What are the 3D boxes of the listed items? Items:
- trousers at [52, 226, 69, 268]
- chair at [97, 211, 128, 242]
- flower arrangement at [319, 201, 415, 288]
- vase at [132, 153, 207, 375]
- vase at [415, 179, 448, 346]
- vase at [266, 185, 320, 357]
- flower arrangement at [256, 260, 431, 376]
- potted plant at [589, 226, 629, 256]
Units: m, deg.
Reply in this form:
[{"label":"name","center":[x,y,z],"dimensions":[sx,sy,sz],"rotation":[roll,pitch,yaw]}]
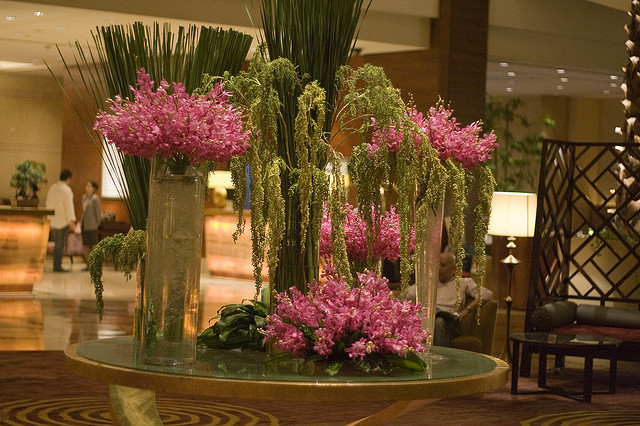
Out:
[{"label":"trousers","center":[-5.595,0.751,12.224],"dimensions":[0.347,0.810,0.310],"rotation":[3,0,-4]},{"label":"chair","center":[-4.186,0.259,11.351],"dimensions":[0.648,0.716,0.383],"rotation":[0,0,8]},{"label":"flower arrangement","center":[0.176,0.120,2.306],"dimensions":[0.332,0.423,0.322],"rotation":[1,-5,-16]},{"label":"vase","center":[-0.500,0.154,1.915],"dimensions":[0.230,0.678,0.423],"rotation":[3,0,-18]},{"label":"vase","center":[0.408,0.189,2.128],"dimensions":[0.116,0.626,0.357],"rotation":[3,0,10]},{"label":"vase","center":[-0.094,0.127,2.007],"dimensions":[0.133,0.548,0.154],"rotation":[21,26,30]},{"label":"flower arrangement","center":[-0.039,0.408,2.007],"dimensions":[0.482,0.279,0.546],"rotation":[-21,-7,21]},{"label":"potted plant","center":[3.486,0.299,6.954],"dimensions":[0.403,0.172,0.404],"rotation":[11,21,-39]}]
